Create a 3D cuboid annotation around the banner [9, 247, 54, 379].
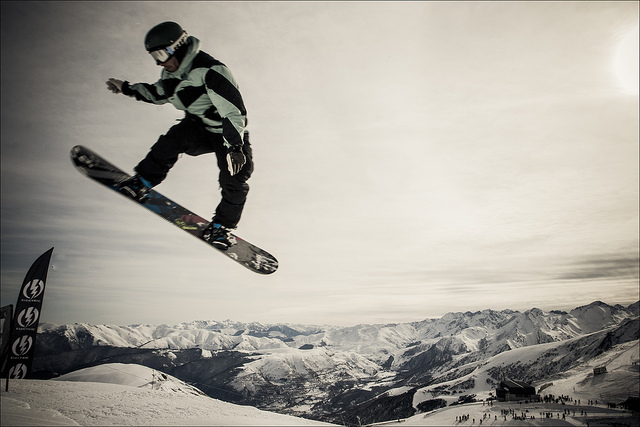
[{"bbox_3d":[-12.773,4.573,23.934,1.321,6.023,1.018,3,0,-28],"label":"banner"}]
